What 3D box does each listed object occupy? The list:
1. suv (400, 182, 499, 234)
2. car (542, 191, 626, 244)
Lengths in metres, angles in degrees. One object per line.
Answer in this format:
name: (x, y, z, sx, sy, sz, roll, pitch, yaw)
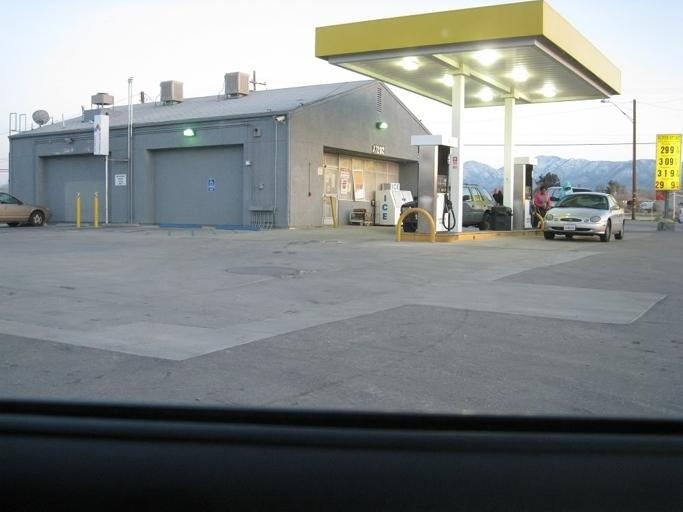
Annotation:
suv: (4.736, -1.992, 24.397, 1.996, 1.744, 3.691, 0, 0, 44)
car: (8.960, -1.449, 20.638, 2.911, 1.805, 1.969, -3, 6, -37)
